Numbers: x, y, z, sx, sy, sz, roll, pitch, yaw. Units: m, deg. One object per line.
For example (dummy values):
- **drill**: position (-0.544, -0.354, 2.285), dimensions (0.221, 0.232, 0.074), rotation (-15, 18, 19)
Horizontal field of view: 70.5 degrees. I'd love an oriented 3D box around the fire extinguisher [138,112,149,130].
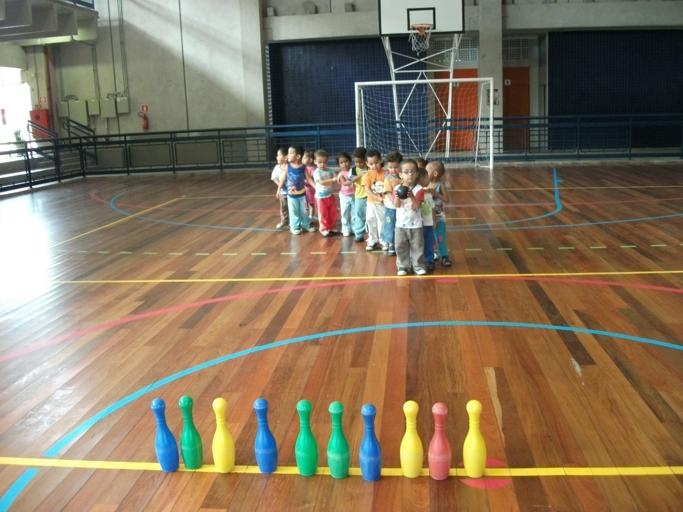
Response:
- **fire extinguisher**: position (-6.602, -4.508, 16.069), dimensions (0.361, 0.602, 0.179), rotation (-1, 15, -2)
